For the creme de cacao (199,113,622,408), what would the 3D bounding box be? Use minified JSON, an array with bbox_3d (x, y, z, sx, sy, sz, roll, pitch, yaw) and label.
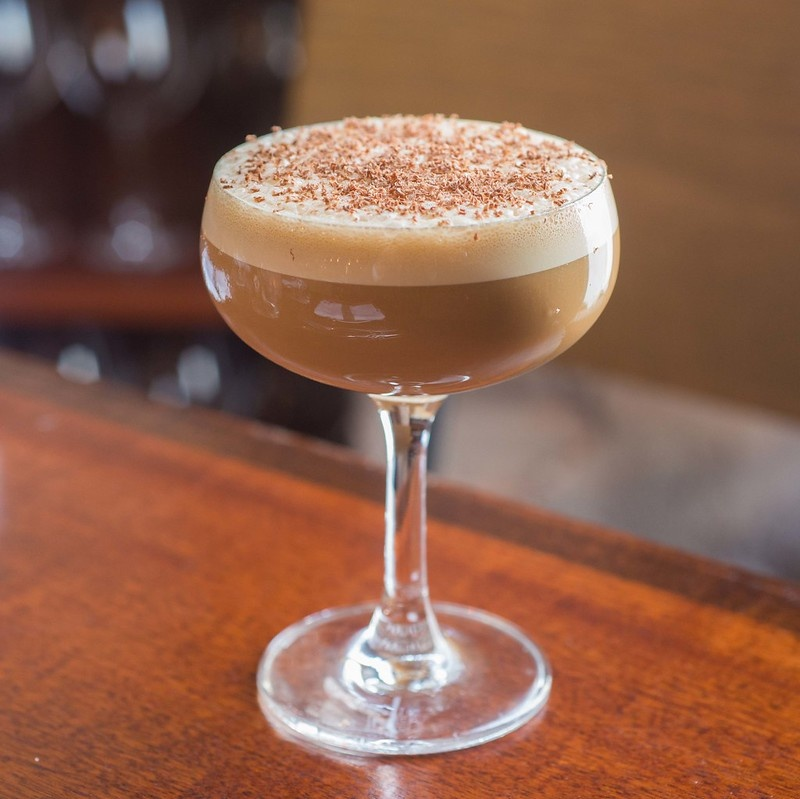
[{"bbox_3d":[0.011,-0.082,0.604,0.251,0.117,0.200,-3,14,-4],"label":"creme de cacao"}]
